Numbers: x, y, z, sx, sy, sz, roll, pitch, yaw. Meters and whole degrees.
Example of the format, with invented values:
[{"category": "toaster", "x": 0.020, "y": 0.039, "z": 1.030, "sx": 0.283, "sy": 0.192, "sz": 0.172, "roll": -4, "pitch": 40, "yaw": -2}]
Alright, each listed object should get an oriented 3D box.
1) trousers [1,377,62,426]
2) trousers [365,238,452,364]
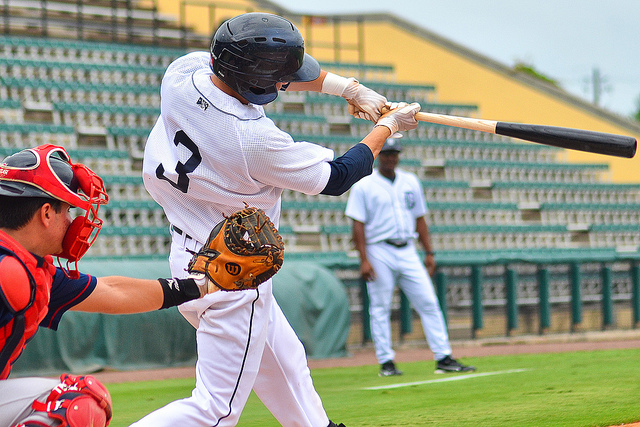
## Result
[{"category": "trousers", "x": -2.690, "y": 1.768, "z": 11.617, "sx": 0.551, "sy": 0.427, "sz": 0.289, "roll": 2, "pitch": 2, "yaw": -14}, {"category": "trousers", "x": 1.325, "y": 1.049, "z": 14.900, "sx": 1.085, "sy": 1.383, "sz": 1.435, "roll": 2, "pitch": -2, "yaw": -2}]
